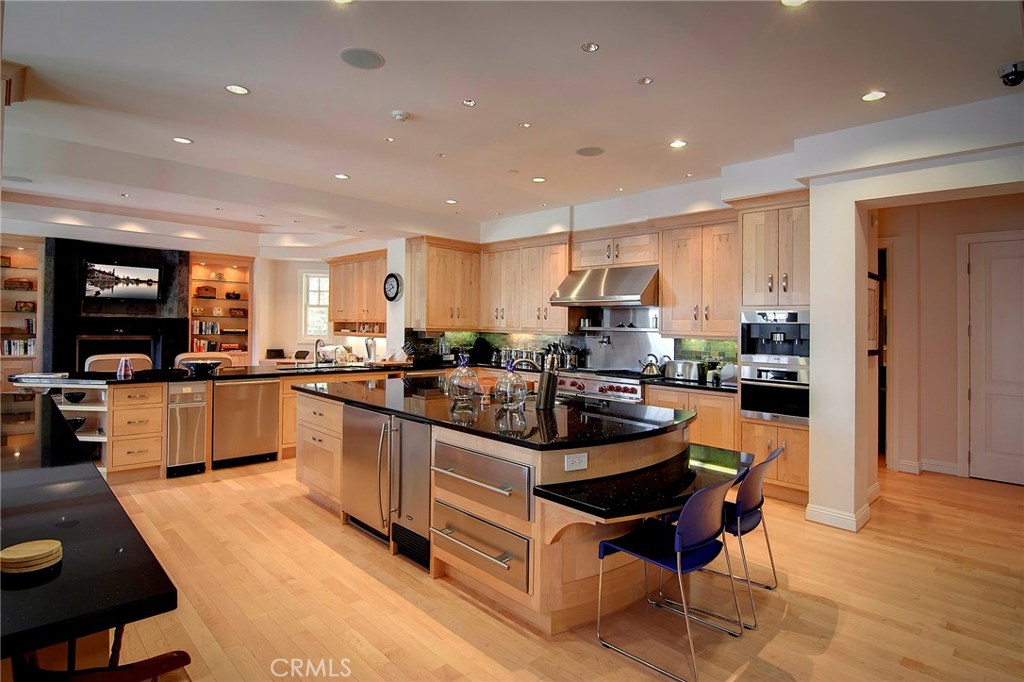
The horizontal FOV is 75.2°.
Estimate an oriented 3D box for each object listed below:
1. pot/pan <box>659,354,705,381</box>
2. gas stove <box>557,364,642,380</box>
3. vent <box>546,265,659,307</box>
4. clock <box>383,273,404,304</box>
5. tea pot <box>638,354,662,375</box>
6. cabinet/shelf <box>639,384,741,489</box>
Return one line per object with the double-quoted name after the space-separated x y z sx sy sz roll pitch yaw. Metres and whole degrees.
1.999 0.331 7.749 0.395 0.227 0.652 2 2 -3 "pot/pan"
1.252 0.386 8.274 0.616 0.080 1.269 0 3 -36 "gas stove"
1.142 -0.691 8.234 0.375 0.523 1.353 -1 3 -45 "vent"
-1.692 -0.765 9.606 0.093 0.457 0.467 3 1 -38 "clock"
1.697 0.271 8.129 0.261 0.247 0.489 2 2 11 "tea pot"
1.977 1.045 7.132 1.379 1.234 0.571 -3 -6 42 "cabinet/shelf"
